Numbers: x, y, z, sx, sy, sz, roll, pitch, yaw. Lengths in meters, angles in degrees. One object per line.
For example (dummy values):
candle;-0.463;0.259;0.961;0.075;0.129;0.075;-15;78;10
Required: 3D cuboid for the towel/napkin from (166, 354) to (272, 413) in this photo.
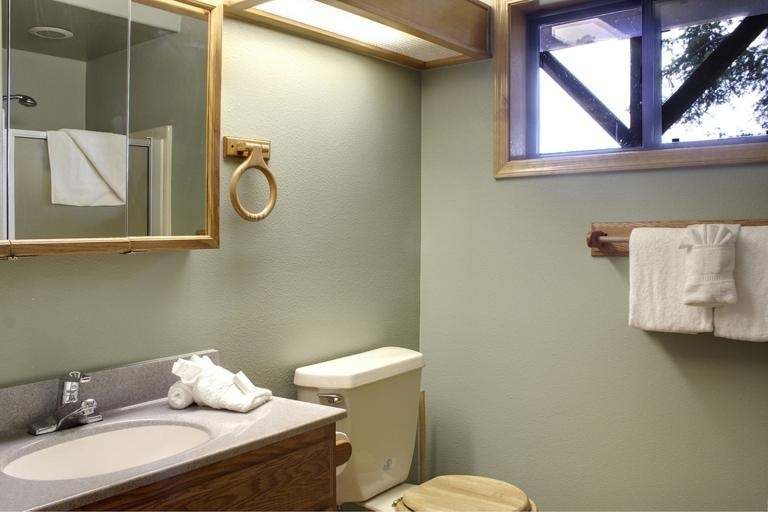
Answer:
towel/napkin;-0.594;0.462;1.948;0.245;0.103;0.235;10;3;13
